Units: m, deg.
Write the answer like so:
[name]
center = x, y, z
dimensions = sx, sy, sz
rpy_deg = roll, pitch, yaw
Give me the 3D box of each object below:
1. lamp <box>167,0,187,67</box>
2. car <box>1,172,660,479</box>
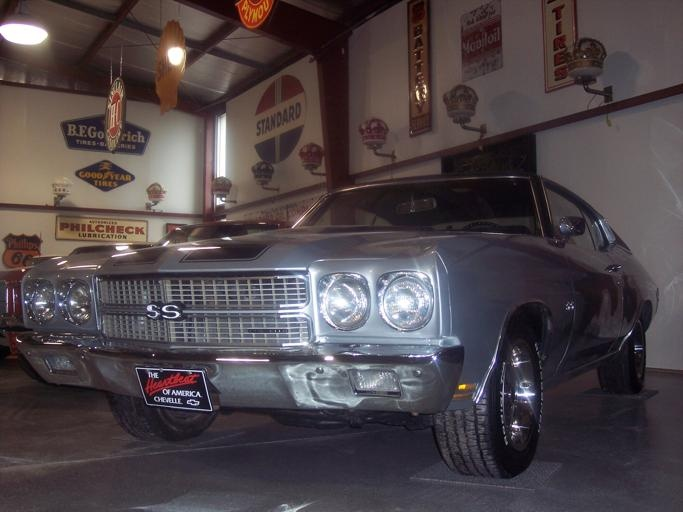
[lamp]
center = -3.040, -4.041, 9.082
dimensions = 0.286, 1.185, 0.734
rpy_deg = 4, -8, -36
[car]
center = 0.671, 0.073, 3.097
dimensions = 1.937, 1.086, 3.367
rpy_deg = -4, -7, 36
